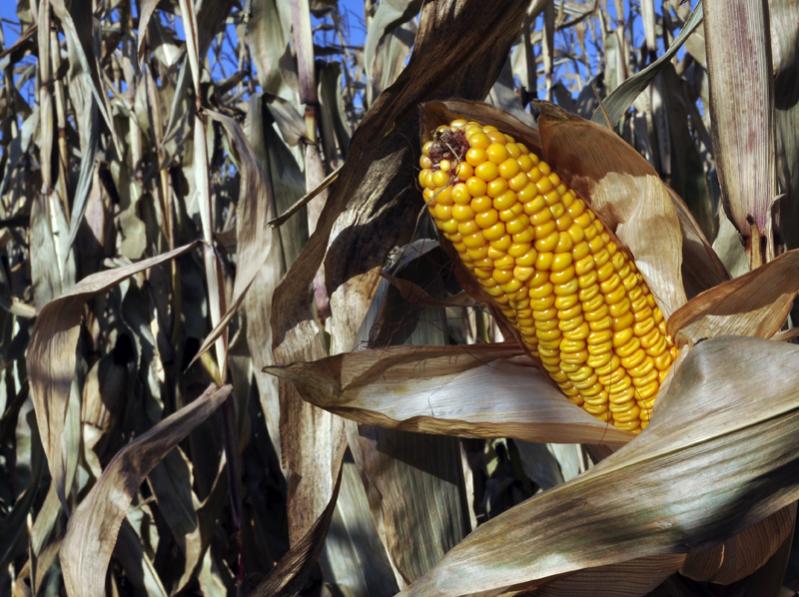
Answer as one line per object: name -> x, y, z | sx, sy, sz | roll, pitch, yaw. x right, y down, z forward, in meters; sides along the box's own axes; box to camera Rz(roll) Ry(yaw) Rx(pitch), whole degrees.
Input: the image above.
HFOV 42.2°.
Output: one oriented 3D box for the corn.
corn -> 0.338, -0.036, 2.332 | 0.222, 0.702, 0.201 | -37, 6, -32
